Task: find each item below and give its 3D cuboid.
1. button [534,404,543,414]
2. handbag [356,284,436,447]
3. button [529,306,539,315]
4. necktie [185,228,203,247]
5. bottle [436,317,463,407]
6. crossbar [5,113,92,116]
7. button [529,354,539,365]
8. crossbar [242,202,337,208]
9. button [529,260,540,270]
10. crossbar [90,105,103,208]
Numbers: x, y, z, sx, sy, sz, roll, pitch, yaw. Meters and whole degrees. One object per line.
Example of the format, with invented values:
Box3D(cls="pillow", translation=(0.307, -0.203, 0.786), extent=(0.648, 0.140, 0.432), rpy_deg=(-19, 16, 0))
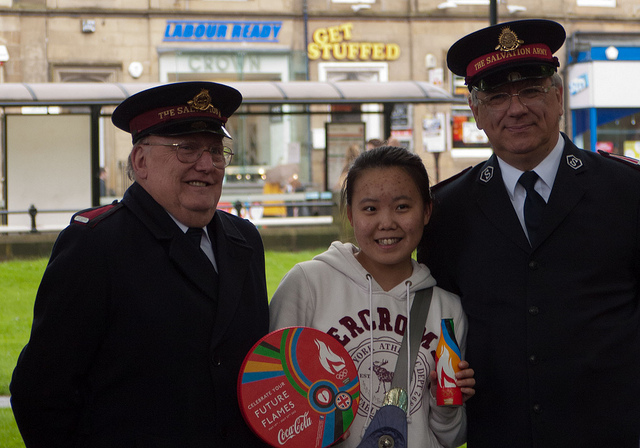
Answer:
Box3D(cls="button", translation=(1.551, 1.333, 8.181), extent=(0.061, 0.065, 0.016), rpy_deg=(-4, -2, 8))
Box3D(cls="handbag", translation=(0.614, 1.065, 8.180), extent=(0.349, 1.227, 0.280), rpy_deg=(16, -13, 18))
Box3D(cls="button", translation=(1.528, 0.627, 8.232), extent=(0.060, 0.064, 0.015), rpy_deg=(-2, -4, 4))
Box3D(cls="necktie", translation=(-0.885, 0.089, 8.023), extent=(0.092, 0.111, 0.119), rpy_deg=(3, 7, -22))
Box3D(cls="bottle", translation=(0.897, 0.977, 8.053), extent=(0.177, 0.599, 0.140), rpy_deg=(-2, 2, 13))
Box3D(cls="crossbar", translation=(-3.728, -1.555, 15.934), extent=(1.017, 0.056, 0.170), rpy_deg=(-4, 4, -22))
Box3D(cls="button", translation=(1.526, 0.972, 8.207), extent=(0.063, 0.067, 0.015), rpy_deg=(-2, 2, 2))
Box3D(cls="crossbar", translation=(-0.446, -0.277, 16.460), extent=(1.342, 0.075, 0.604), rpy_deg=(-2, 3, 3))
Box3D(cls="button", translation=(1.534, 0.295, 8.272), extent=(0.061, 0.065, 0.016), rpy_deg=(0, -14, 10))
Box3D(cls="crossbar", translation=(-3.103, -0.972, 15.951), extent=(0.178, 1.367, 0.697), rpy_deg=(-3, 2, -12))
